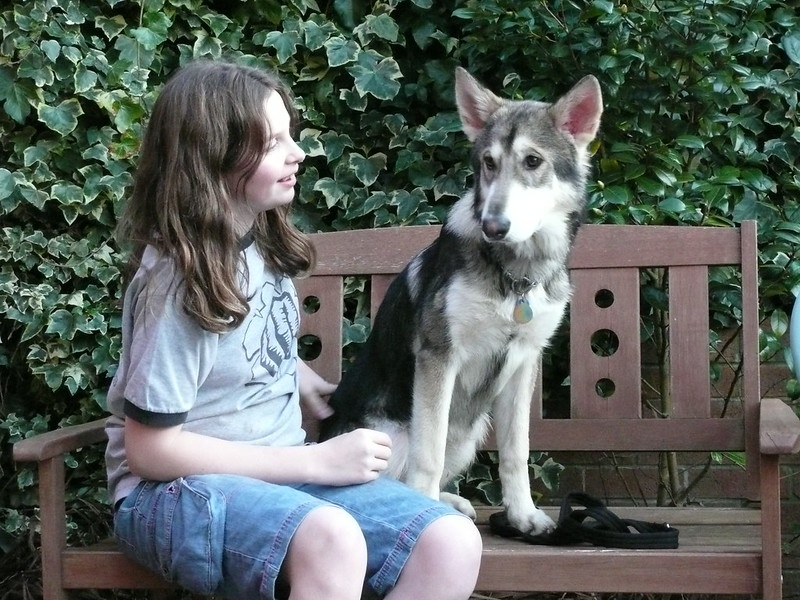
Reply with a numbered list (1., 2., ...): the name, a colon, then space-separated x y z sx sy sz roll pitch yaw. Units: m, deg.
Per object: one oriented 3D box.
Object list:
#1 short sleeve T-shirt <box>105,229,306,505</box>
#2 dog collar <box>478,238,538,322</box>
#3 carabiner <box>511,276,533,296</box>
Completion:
1. short sleeve T-shirt: -0.667 0.247 3.715 0.600 0.911 1.041 -1 -2 27
2. dog collar: 0.407 -0.066 4.131 0.208 0.190 0.045 2 1 3
3. carabiner: 0.465 -0.056 4.131 0.071 0.073 0.017 35 -14 -10
